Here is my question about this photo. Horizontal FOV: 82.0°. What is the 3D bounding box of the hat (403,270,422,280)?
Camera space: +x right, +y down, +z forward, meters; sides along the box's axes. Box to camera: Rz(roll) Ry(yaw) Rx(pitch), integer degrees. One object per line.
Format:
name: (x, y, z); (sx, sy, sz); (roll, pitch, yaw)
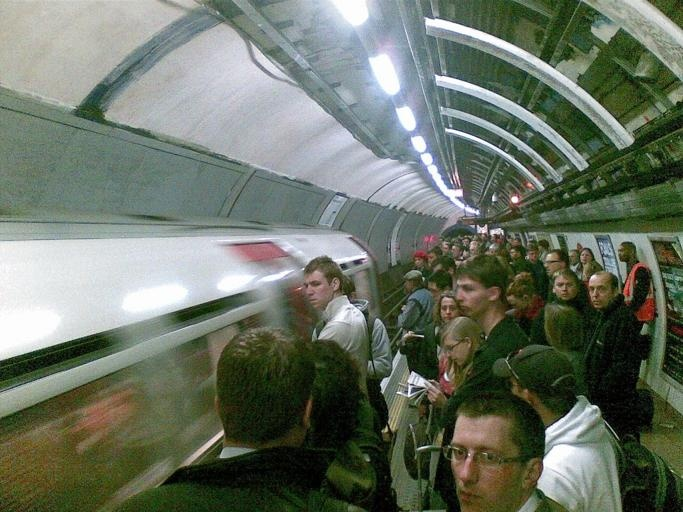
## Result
hat: (1.374, 0.366, 7.410); (0.276, 0.113, 0.184); (4, -2, -2)

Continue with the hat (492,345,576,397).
hat: (1.334, 0.749, 2.672); (0.448, 0.232, 0.326); (20, 4, 36)

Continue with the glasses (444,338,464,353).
glasses: (1.093, 0.862, 3.806); (0.159, 0.047, 0.170); (-25, -8, 42)
